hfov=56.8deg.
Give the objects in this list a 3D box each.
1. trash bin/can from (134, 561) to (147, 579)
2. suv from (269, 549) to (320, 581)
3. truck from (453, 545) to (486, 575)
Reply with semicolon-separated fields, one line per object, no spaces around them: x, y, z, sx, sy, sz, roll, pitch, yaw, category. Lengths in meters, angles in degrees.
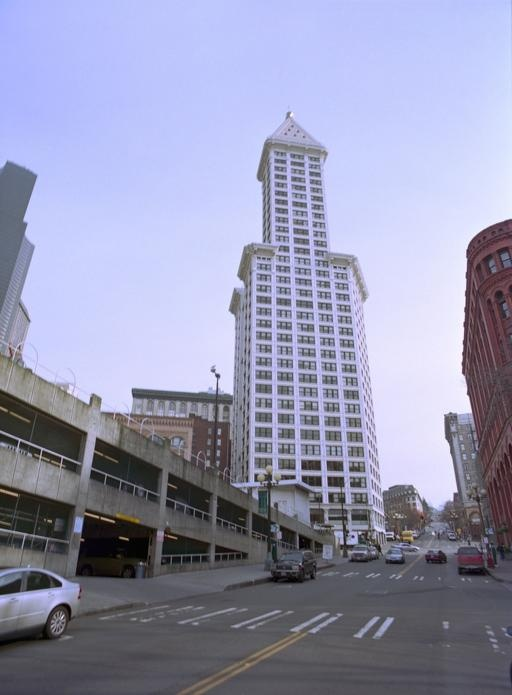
-5.344;10.205;21.886;0.524;0.744;1.556;4;-25;-13;trash bin/can
2.018;10.727;23.386;1.258;1.270;2.543;-10;-39;13;suv
12.218;12.178;27.298;1.243;1.216;2.423;-2;-42;13;truck
